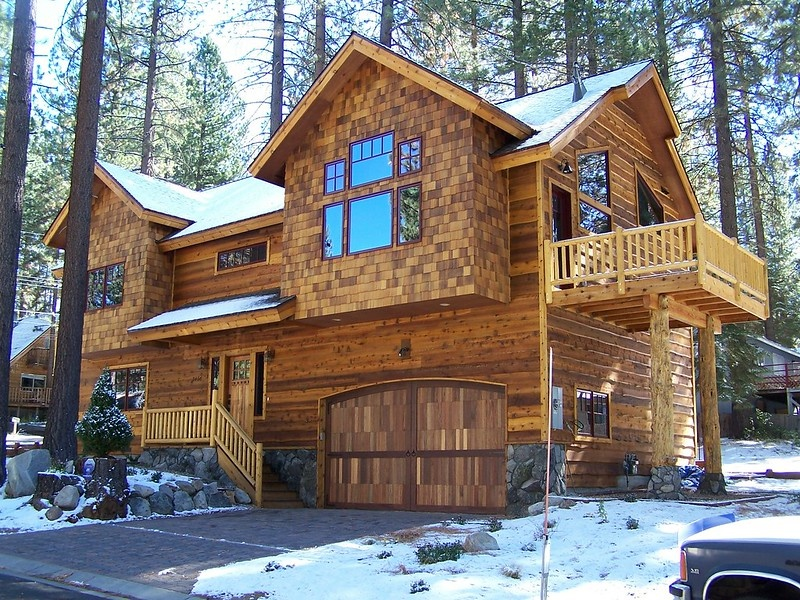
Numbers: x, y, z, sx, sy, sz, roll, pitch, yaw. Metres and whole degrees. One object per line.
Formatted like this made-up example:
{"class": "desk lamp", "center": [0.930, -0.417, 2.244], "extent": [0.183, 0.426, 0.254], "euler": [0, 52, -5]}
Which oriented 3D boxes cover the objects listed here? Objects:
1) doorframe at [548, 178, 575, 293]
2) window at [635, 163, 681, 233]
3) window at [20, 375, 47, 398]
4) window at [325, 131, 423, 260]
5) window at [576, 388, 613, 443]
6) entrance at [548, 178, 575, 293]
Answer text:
{"class": "doorframe", "center": [4.371, -1.747, 18.551], "extent": [0.561, 2.757, 1.623], "euler": [-4, -8, 14]}
{"class": "window", "center": [8.225, -3.224, 22.923], "extent": [2.910, 1.750, 0.062], "euler": [10, -12, -39]}
{"class": "window", "center": [-28.133, 6.648, 53.120], "extent": [1.635, 1.683, 0.097], "euler": [4, -23, -33]}
{"class": "window", "center": [-0.630, -2.791, 19.220], "extent": [3.324, 3.425, 0.127], "euler": [-10, -18, 38]}
{"class": "window", "center": [5.227, 3.099, 18.929], "extent": [0.162, 1.352, 1.784], "euler": [-8, -16, 44]}
{"class": "entrance", "center": [4.370, -1.748, 18.545], "extent": [0.564, 2.757, 1.636], "euler": [-4, -8, 14]}
